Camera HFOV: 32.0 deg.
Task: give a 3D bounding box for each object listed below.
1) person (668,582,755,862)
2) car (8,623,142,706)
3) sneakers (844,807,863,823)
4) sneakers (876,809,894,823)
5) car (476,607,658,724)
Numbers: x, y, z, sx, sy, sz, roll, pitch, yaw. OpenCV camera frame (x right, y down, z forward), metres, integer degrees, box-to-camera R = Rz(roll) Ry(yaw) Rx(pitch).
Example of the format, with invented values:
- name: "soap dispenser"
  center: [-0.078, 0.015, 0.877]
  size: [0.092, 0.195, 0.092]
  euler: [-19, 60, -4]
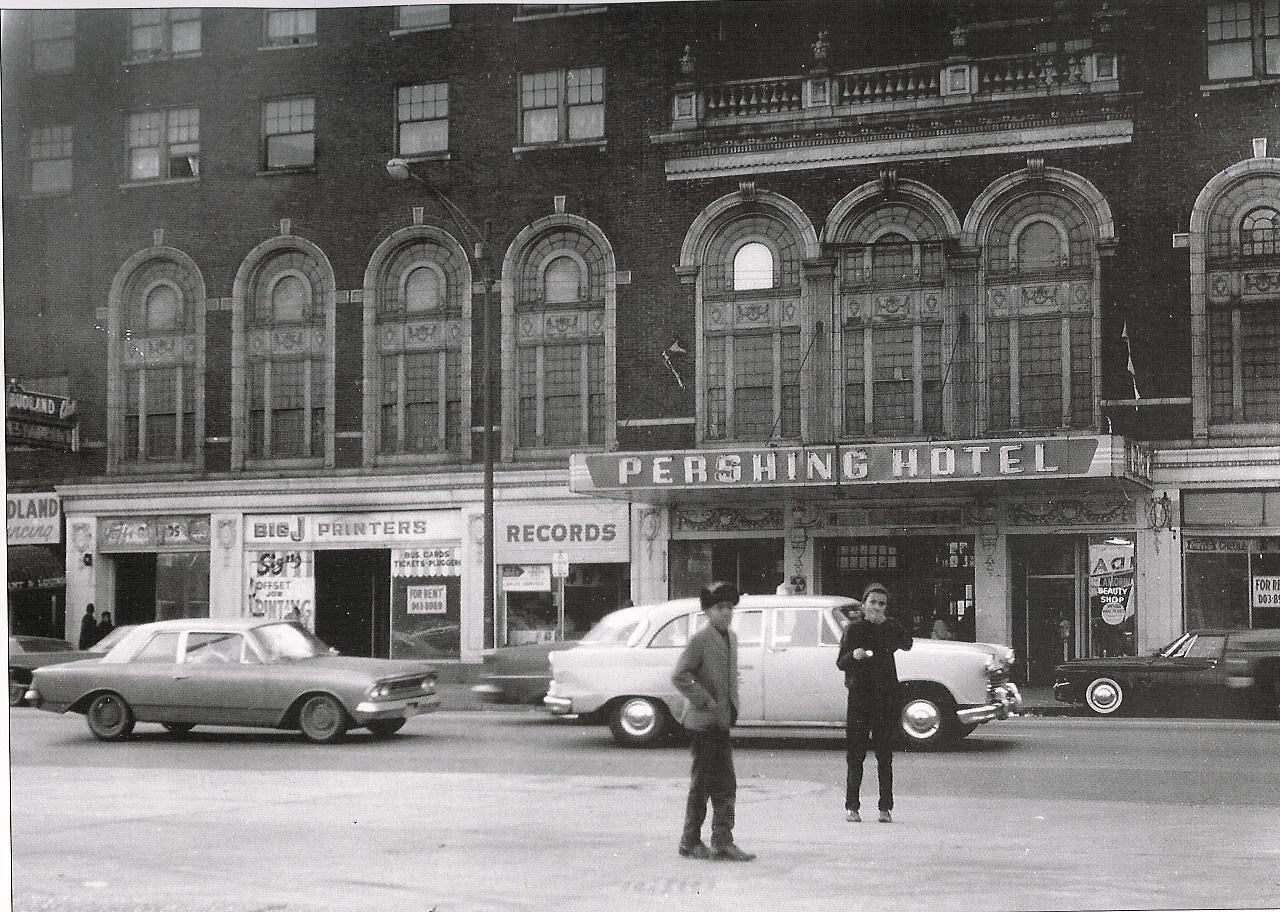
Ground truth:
- name: "person"
  center: [0.965, 3.624, 30.099]
  size: [0.874, 3.740, 1.304]
  euler: [0, 14, 2]
- name: "car"
  center: [-10.558, 4.074, 42.176]
  size: [3.132, 0.958, 1.876]
  euler: [-1, -2, -8]
- name: "sneakers"
  center: [3.031, 4.991, 31.555]
  size: [0.244, 0.240, 0.383]
  euler: [1, 13, 3]
- name: "sneakers"
  center: [3.450, 5.010, 31.420]
  size: [0.136, 0.168, 0.401]
  euler: [1, -11, 0]
- name: "car"
  center: [-1.371, 3.506, 38.149]
  size: [2.832, 1.184, 1.668]
  euler: [-1, -3, 2]
